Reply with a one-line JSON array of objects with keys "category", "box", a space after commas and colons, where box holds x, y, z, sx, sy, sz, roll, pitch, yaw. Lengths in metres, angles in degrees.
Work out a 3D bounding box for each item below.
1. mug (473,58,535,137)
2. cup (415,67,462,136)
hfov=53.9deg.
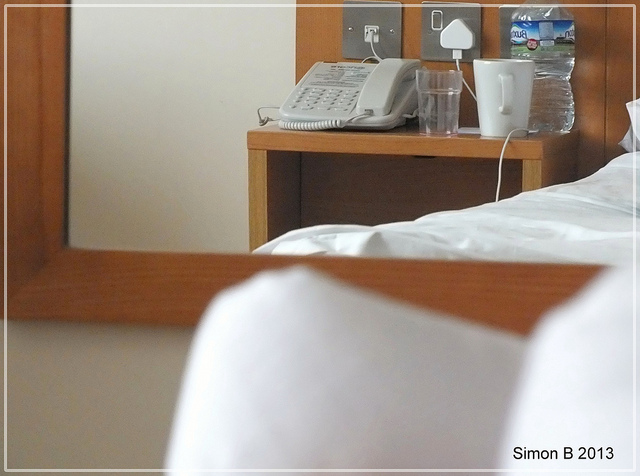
[{"category": "mug", "box": [0.135, -0.101, 0.451, 0.047, 0.053, 0.054, 0, 14, 1]}, {"category": "cup", "box": [0.089, -0.101, 0.471, 0.035, 0.049, 0.038, -1, 13, 0]}]
